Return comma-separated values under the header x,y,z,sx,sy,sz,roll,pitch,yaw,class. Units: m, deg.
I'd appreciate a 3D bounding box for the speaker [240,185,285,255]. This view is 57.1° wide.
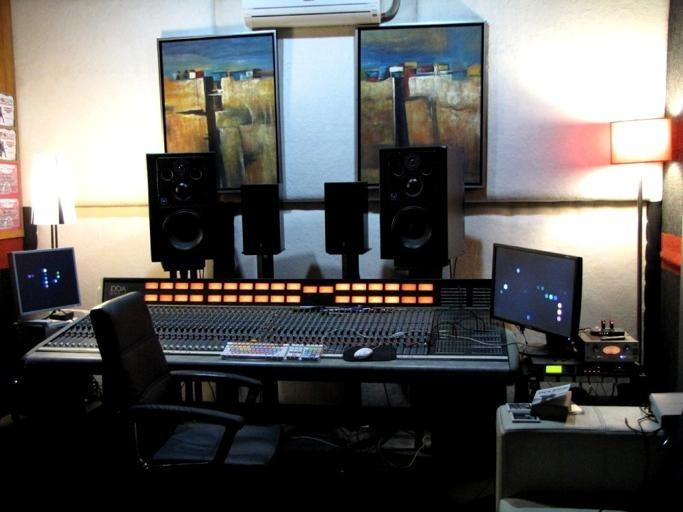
x,y,z,sx,sy,sz,roll,pitch,yaw,class
-0.560,-0.268,4.027,0.290,0.466,0.279,-4,18,-19,speaker

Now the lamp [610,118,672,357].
x,y,z,sx,sy,sz,roll,pitch,yaw,class
1.890,-0.086,4.040,0.347,1.556,0.387,1,12,18,lamp

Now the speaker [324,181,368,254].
x,y,z,sx,sy,sz,roll,pitch,yaw,class
0.056,-0.256,3.972,0.279,0.453,0.255,0,-1,24,speaker

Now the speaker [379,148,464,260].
x,y,z,sx,sy,sz,roll,pitch,yaw,class
0.537,-0.311,3.914,0.506,0.703,0.588,4,8,37,speaker

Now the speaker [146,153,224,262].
x,y,z,sx,sy,sz,roll,pitch,yaw,class
-0.957,-0.275,3.811,0.408,0.684,0.118,-2,11,4,speaker

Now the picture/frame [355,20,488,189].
x,y,z,sx,sy,sz,roll,pitch,yaw,class
0.554,-1.030,4.104,1.213,1.383,0.095,0,5,8,picture/frame

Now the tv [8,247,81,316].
x,y,z,sx,sy,sz,roll,pitch,yaw,class
-1.973,0.173,4.187,0.068,0.503,0.468,-3,3,43,tv

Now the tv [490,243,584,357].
x,y,z,sx,sy,sz,roll,pitch,yaw,class
1.089,0.250,3.421,0.220,0.538,0.564,-3,10,-33,tv

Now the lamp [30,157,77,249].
x,y,z,sx,sy,sz,roll,pitch,yaw,class
-1.967,-0.452,4.253,0.264,0.465,0.168,-8,13,-26,lamp
